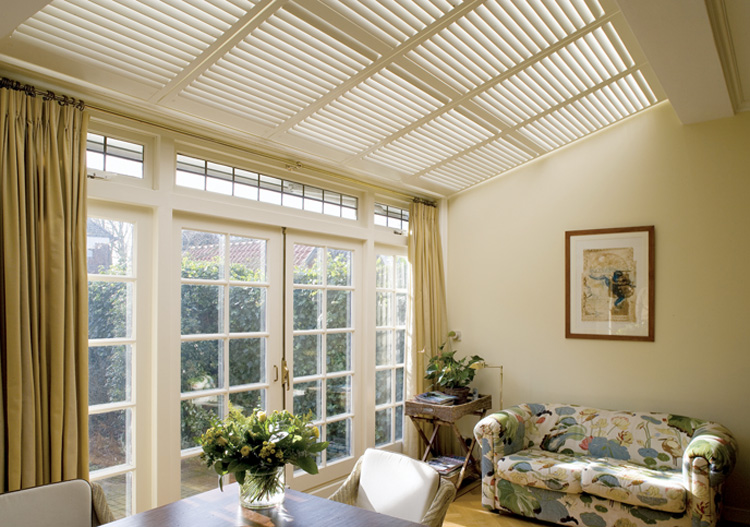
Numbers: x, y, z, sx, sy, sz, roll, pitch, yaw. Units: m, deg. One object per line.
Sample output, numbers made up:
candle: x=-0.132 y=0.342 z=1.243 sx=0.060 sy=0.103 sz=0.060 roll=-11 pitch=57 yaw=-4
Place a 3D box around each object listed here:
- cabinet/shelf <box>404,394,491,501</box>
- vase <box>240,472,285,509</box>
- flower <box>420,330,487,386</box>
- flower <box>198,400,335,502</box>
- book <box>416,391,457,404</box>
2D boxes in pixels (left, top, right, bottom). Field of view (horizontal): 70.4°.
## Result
cabinet/shelf: x=0.867 y=1.795 z=5.585 sx=0.891 sy=1.158 sz=0.846 roll=-1 pitch=-3 yaw=44
vase: x=-0.617 y=1.233 z=2.875 sx=0.214 sy=0.157 sz=0.208 roll=0 pitch=-10 yaw=-3
flower: x=0.763 y=1.003 z=5.600 sx=0.496 sy=0.450 sz=0.528 roll=-11 pitch=-4 yaw=1
flower: x=-0.652 y=1.119 z=3.062 sx=0.745 sy=0.485 sz=0.800 roll=-8 pitch=-14 yaw=30
book: x=0.609 y=1.330 z=5.256 sx=0.298 sy=0.085 sz=0.363 roll=7 pitch=-10 yaw=-42
